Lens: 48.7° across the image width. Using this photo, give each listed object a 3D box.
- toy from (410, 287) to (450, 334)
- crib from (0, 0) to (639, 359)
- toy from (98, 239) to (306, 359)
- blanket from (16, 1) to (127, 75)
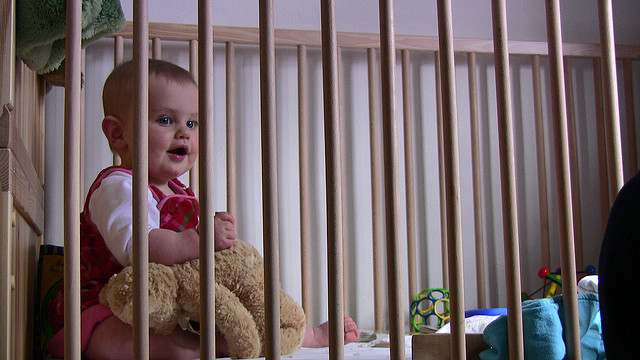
[{"bbox_3d":[0.418,0.484,2.683,0.184,0.203,0.191,1,-12,18],"label":"toy"},{"bbox_3d":[-0.066,0.010,2.158,1.049,0.857,0.612,0,-13,-9],"label":"crib"},{"bbox_3d":[-0.299,0.311,1.874,0.410,0.198,0.318,19,-18,-1],"label":"toy"},{"bbox_3d":[-0.711,-0.420,2.009,0.098,0.260,0.253,26,24,13],"label":"blanket"}]
